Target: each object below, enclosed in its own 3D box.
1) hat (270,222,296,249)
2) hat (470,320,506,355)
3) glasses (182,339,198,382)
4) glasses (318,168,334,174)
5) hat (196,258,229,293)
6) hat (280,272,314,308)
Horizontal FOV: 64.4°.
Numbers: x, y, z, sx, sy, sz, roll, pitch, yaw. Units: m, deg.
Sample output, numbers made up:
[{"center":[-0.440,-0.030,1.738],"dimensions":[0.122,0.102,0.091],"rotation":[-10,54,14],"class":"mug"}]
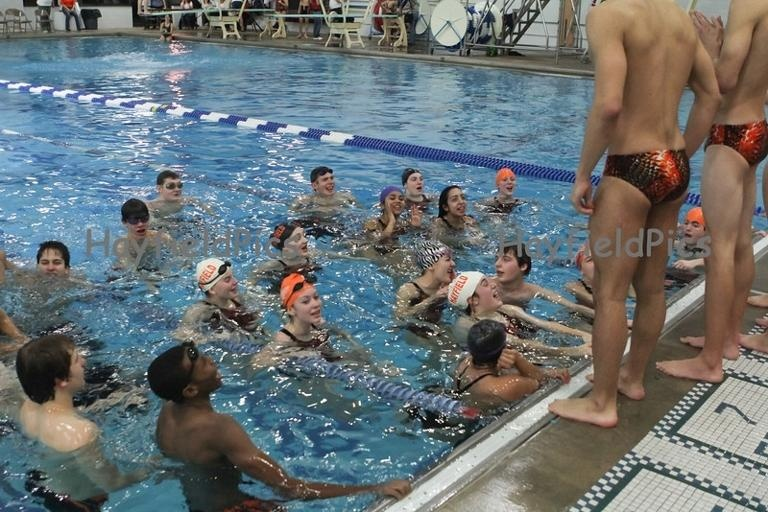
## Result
[{"center":[-0.902,-0.171,5.386],"dimensions":[0.215,0.221,0.162],"rotation":[43,15,-16],"class":"hat"},{"center":[0.631,0.496,3.673],"dimensions":[0.218,0.113,0.198],"rotation":[-4,24,25],"class":"hat"},{"center":[-1.039,0.562,3.231],"dimensions":[0.054,0.148,0.163],"rotation":[11,7,-14],"class":"glasses"},{"center":[-0.671,-0.913,6.655],"dimensions":[0.149,0.060,0.113],"rotation":[6,13,35],"class":"glasses"},{"center":[-1.319,0.148,4.657],"dimensions":[0.298,0.186,0.226],"rotation":[-12,26,4],"class":"hat"},{"center":[-0.625,0.245,4.262],"dimensions":[0.198,0.215,0.167],"rotation":[37,11,-4],"class":"hat"}]
